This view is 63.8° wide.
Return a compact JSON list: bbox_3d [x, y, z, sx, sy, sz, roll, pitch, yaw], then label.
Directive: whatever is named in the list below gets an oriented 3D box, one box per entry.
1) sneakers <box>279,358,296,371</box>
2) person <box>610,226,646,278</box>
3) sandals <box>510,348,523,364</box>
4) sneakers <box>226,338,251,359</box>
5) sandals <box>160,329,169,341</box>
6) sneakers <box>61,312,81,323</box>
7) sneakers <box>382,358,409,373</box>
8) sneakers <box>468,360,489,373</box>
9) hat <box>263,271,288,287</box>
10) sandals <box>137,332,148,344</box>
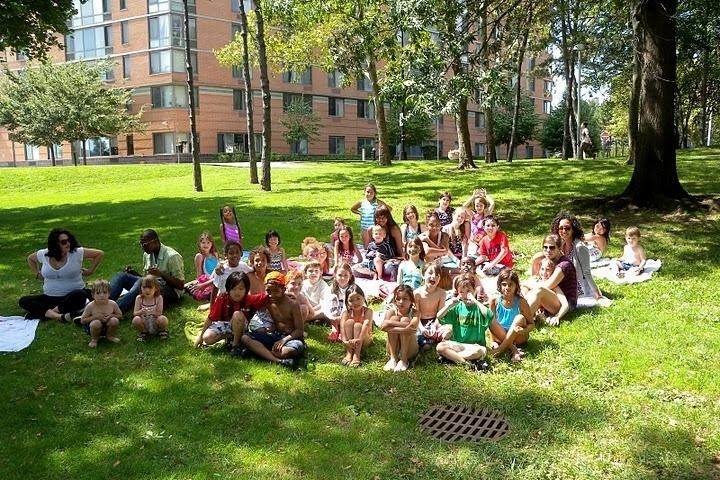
[{"bbox_3d":[-1.158,2.036,9.479,0.301,0.149,0.125,12,19,30],"label":"sneakers"},{"bbox_3d":[5.685,0.242,12.361,0.654,0.934,0.840,2,8,32],"label":"person"},{"bbox_3d":[2.565,1.903,9.483,0.103,0.125,0.291,-3,43,15],"label":"sandals"},{"bbox_3d":[-2.077,1.858,9.785,0.535,0.244,0.198,19,4,35],"label":"sneakers"},{"bbox_3d":[-3.444,1.669,10.222,0.147,0.170,0.230,-5,7,-17],"label":"sandals"},{"bbox_3d":[-5.181,1.434,10.534,0.521,0.169,0.189,2,8,37],"label":"sneakers"},{"bbox_3d":[0.571,2.040,9.362,0.394,0.157,0.201,-2,6,6],"label":"sneakers"},{"bbox_3d":[1.892,2.035,9.274,0.323,0.153,0.143,3,3,12],"label":"sneakers"},{"bbox_3d":[-1.422,0.669,9.889,0.280,0.221,0.288,-1,-6,19],"label":"hat"},{"bbox_3d":[-3.791,1.705,10.095,0.213,0.156,0.179,-1,7,17],"label":"sandals"}]
